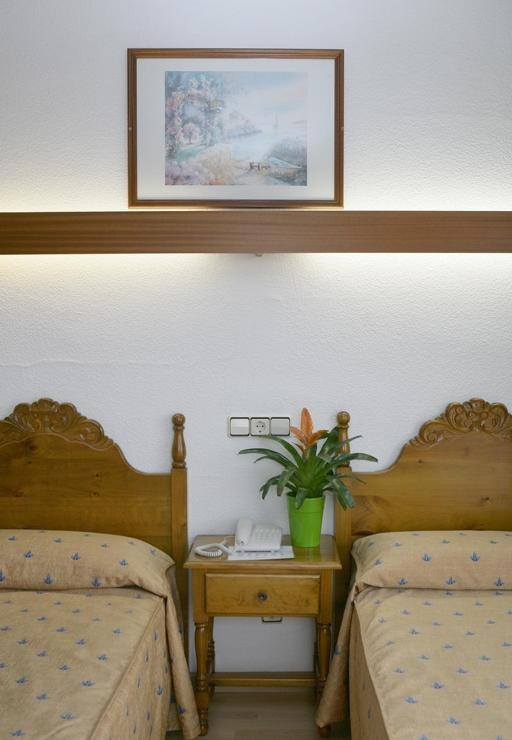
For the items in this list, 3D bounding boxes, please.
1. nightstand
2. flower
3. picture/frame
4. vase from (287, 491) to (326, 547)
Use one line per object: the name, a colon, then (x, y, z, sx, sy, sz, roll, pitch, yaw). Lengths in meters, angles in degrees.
nightstand: (0.028, 0.799, 2.314, 0.703, 0.794, 0.536, 0, -1, 1)
flower: (0.167, 0.317, 2.201, 0.416, 0.262, 0.382, -4, -7, 31)
picture/frame: (-0.082, -0.870, 2.292, 0.580, 0.406, 0.027, 0, 6, 0)
vase: (0.191, 0.495, 2.241, 0.165, 0.184, 0.164, 0, 0, 12)
